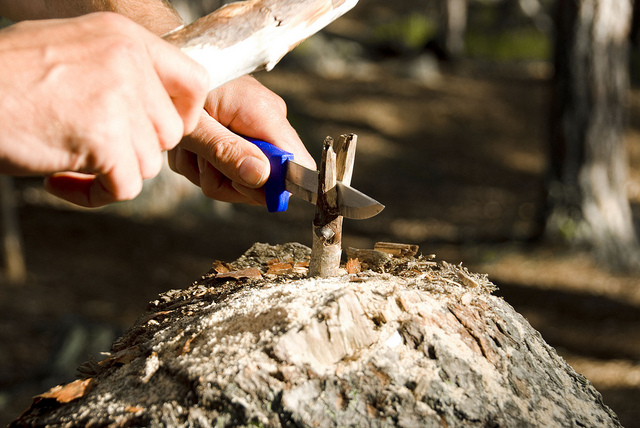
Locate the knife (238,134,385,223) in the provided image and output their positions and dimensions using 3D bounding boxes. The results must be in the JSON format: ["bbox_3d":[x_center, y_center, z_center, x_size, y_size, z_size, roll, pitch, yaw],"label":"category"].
[{"bbox_3d":[-0.099,-0.140,4.394,0.983,0.346,0.109,23,19,18],"label":"knife"}]
